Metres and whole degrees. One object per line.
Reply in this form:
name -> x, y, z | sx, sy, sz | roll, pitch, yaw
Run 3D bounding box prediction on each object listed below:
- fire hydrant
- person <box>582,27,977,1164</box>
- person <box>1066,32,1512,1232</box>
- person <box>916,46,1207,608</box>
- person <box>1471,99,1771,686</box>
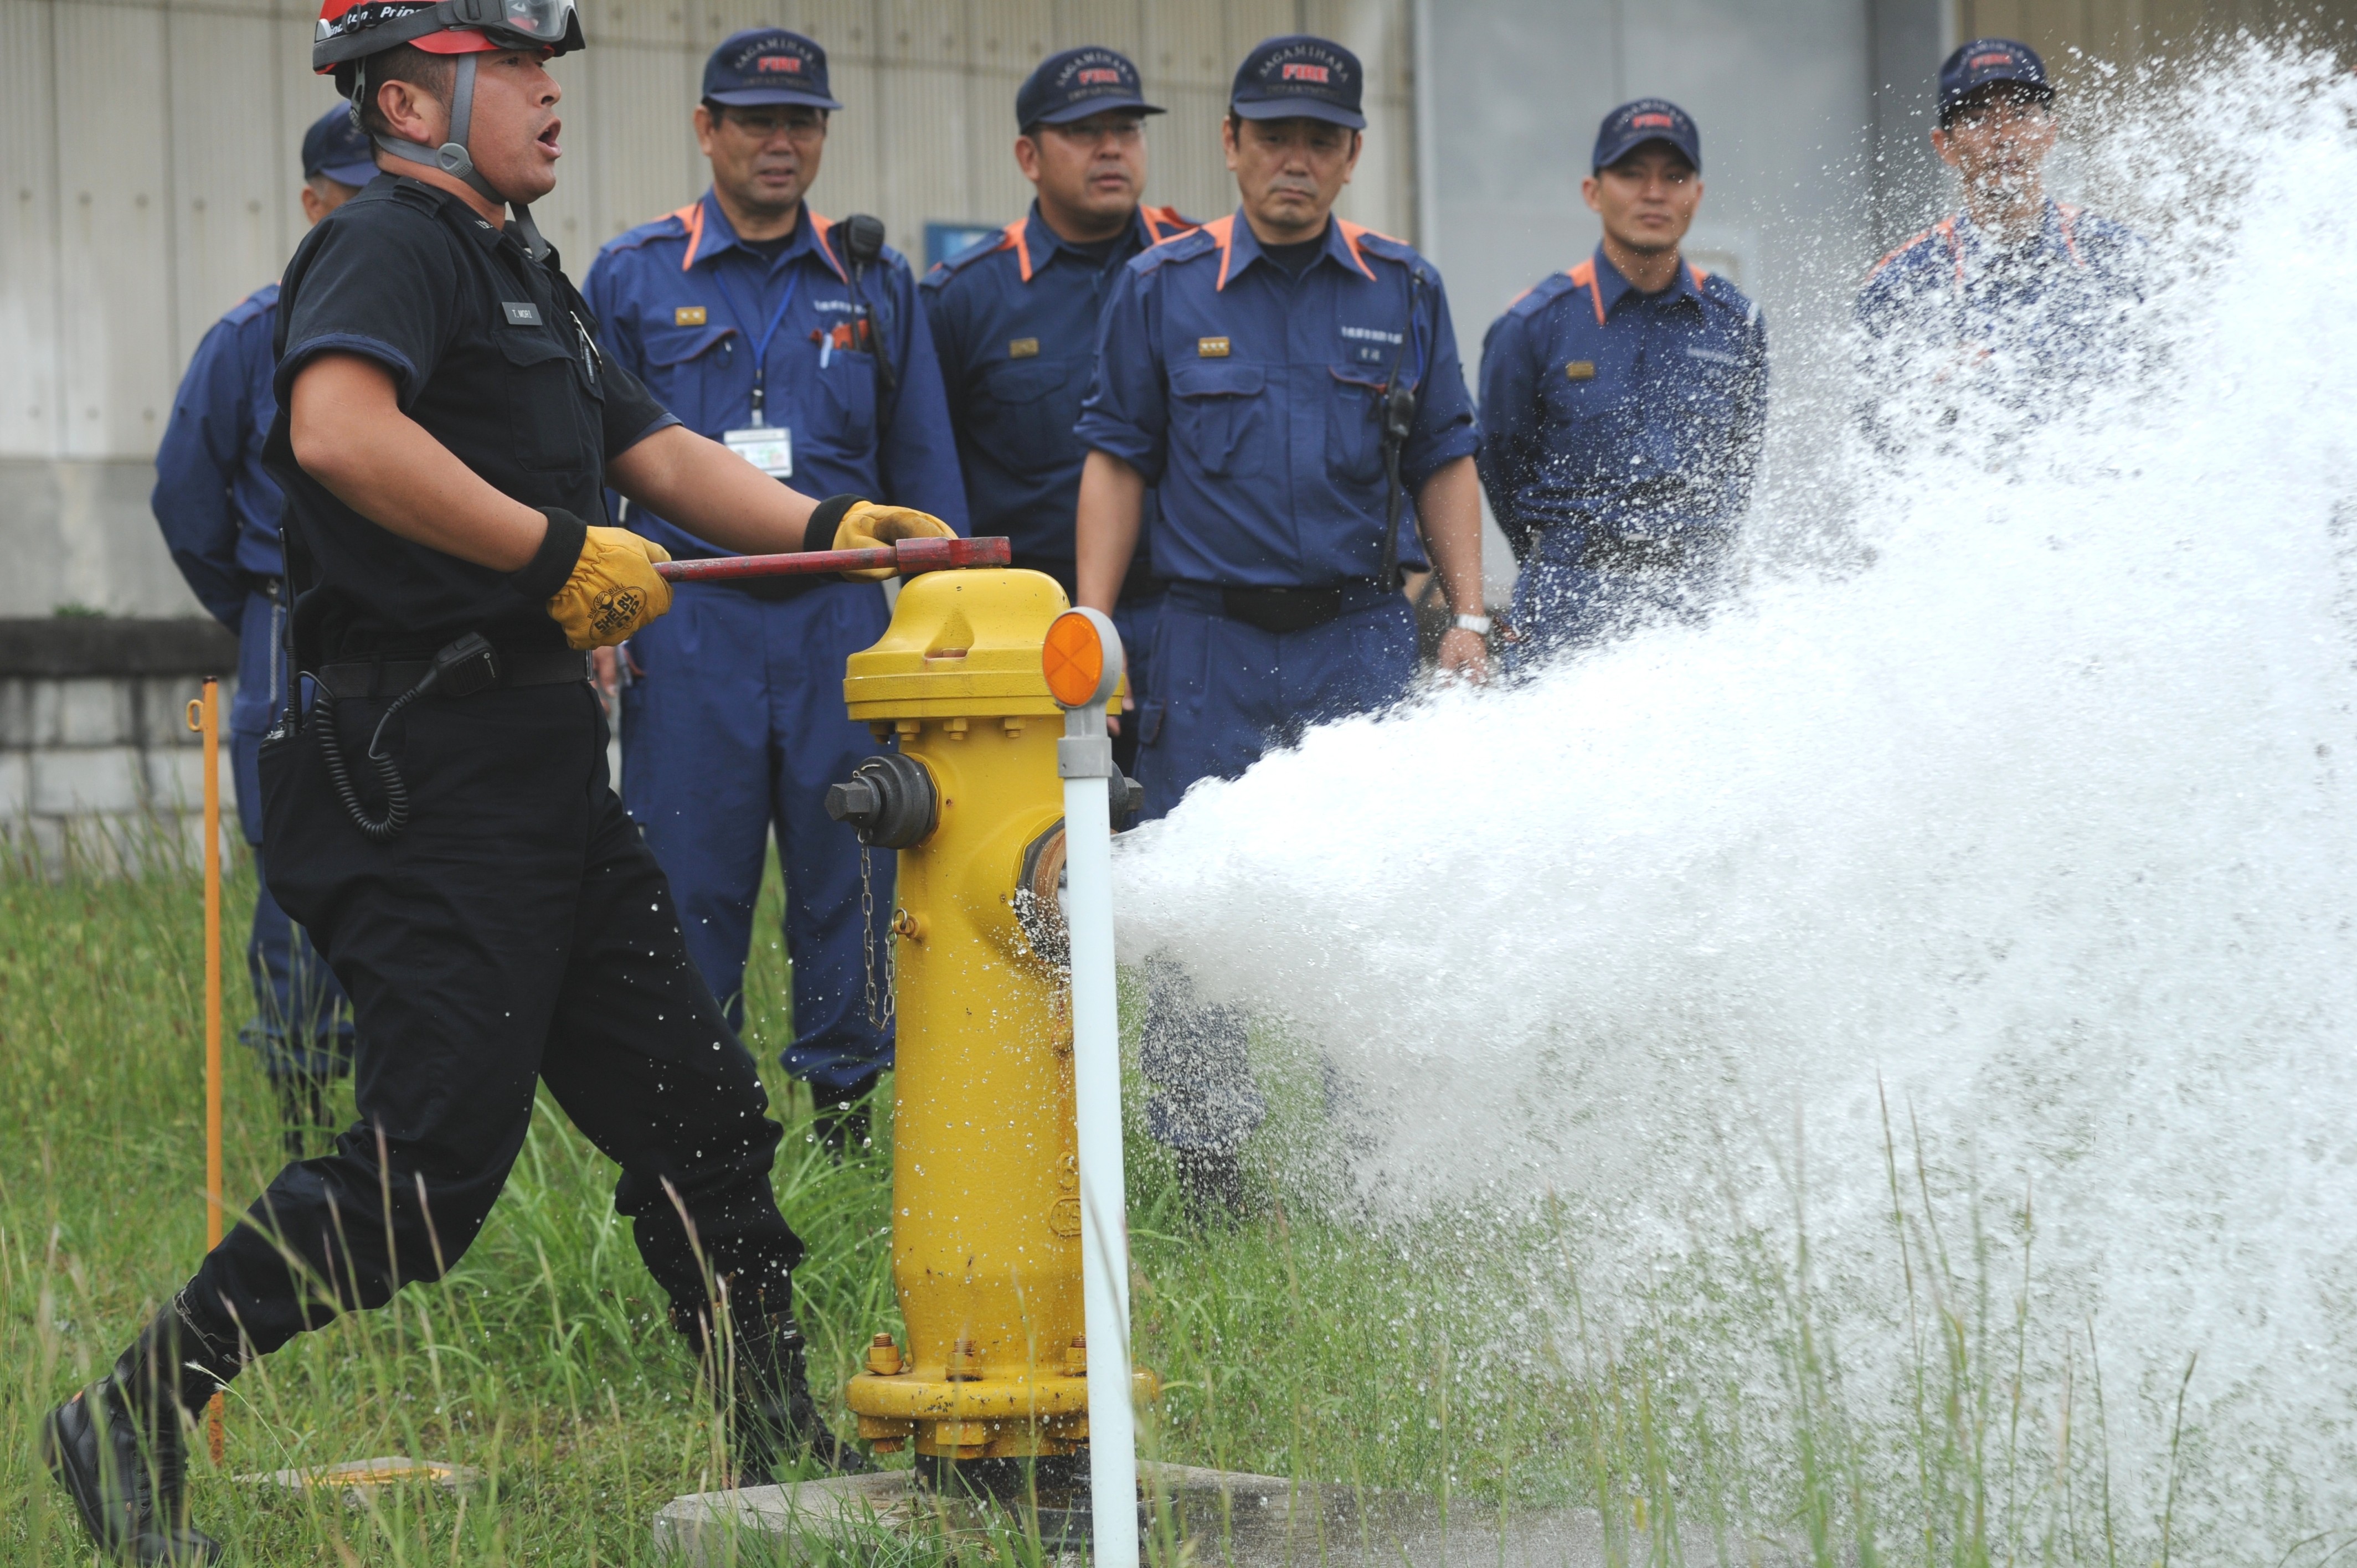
fire hydrant -> -0.423, 0.540, 10.191 | 0.739, 2.087, 0.890 | 2, 10, 29
person -> -1.087, -0.568, 12.707 | 0.908, 3.359, 1.031 | -1, -6, -6
person -> 0.286, -0.424, 12.373 | 1.134, 3.576, 0.972 | -1, 29, 2
person -> -0.382, -1.404, 12.926 | 0.693, 1.681, 1.086 | 1, -4, 0
person -> 1.318, -1.107, 12.938 | 0.697, 1.885, 0.941 | -1, -7, 4
